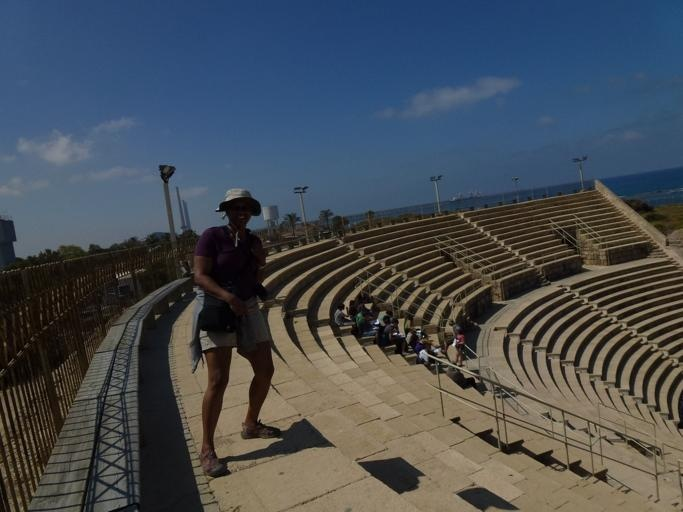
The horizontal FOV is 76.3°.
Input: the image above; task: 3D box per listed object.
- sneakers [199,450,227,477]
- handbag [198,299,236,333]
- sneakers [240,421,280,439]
[{"bbox_3d":[-1.190,1.924,4.037,0.199,0.230,0.216,-13,6,-26],"label":"sneakers"},{"bbox_3d":[-1.125,0.546,3.951,0.322,0.340,0.187,-1,-7,-1],"label":"handbag"},{"bbox_3d":[-0.846,1.781,4.509,0.402,0.154,0.163,0,1,-10],"label":"sneakers"}]
